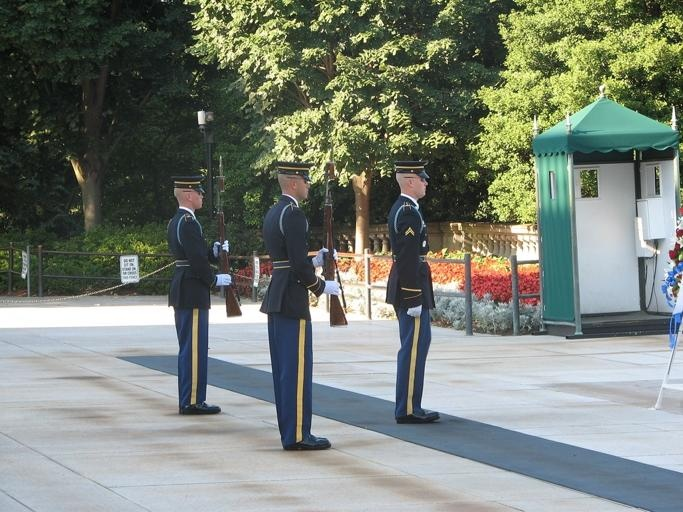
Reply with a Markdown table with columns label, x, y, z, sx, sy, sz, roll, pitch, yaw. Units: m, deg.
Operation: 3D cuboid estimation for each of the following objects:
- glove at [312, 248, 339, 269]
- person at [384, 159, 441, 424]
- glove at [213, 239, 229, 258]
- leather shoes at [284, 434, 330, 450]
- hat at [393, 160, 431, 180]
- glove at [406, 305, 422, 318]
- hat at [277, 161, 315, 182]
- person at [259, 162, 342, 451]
| label | x | y | z | sx | sy | sz | roll | pitch | yaw |
| --- | --- | --- | --- | --- | --- | --- | --- | --- | --- |
| glove | -0.286 | 0.028 | 23.442 | 0.251 | 0.340 | 0.126 | 9 | 2 | 9 |
| person | 1.083 | 0.550 | 24.251 | 0.753 | 3.978 | 1.139 | -1 | 11 | 2 |
| glove | -1.918 | -0.108 | 25.323 | 0.208 | 0.106 | 0.290 | 5 | 13 | 10 |
| leather shoes | -0.489 | 2.782 | 23.343 | 0.695 | 0.290 | 0.255 | -2 | -5 | -4 |
| hat | 1.109 | -1.342 | 24.383 | 0.378 | 0.195 | 0.309 | 0 | 5 | -23 |
| glove | 1.144 | 0.861 | 24.047 | 0.197 | 0.172 | 0.157 | -4 | 2 | 6 |
| hat | -0.694 | -1.275 | 23.384 | 0.377 | 0.189 | 0.343 | 1 | 4 | -11 |
| person | -0.696 | 0.743 | 23.286 | 0.963 | 4.225 | 1.034 | -2 | 11 | -3 |
